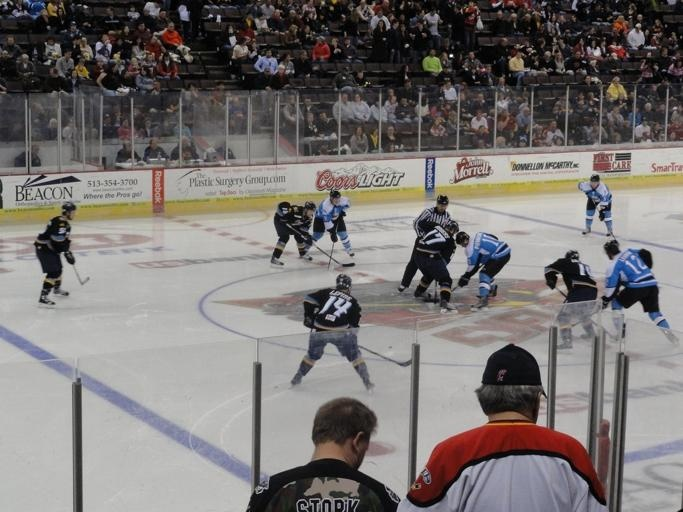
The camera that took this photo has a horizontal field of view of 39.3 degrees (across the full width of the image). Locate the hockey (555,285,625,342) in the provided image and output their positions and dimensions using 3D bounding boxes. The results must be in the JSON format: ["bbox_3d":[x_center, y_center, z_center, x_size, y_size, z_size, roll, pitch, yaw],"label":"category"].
[{"bbox_3d":[2.143,0.476,8.168,0.254,0.433,0.325,3,8,38],"label":"hockey"}]

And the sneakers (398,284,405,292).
[{"bbox_3d":[0.842,0.438,13.298,0.100,0.063,0.128,0,10,3],"label":"sneakers"}]

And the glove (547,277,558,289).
[{"bbox_3d":[2.564,0.335,11.600,0.079,0.152,0.154,-3,34,17],"label":"glove"}]

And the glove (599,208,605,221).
[{"bbox_3d":[4.788,-0.758,17.559,0.125,0.177,0.062,-8,-4,-16],"label":"glove"}]

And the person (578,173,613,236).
[{"bbox_3d":[4.837,-1.026,18.001,0.675,1.168,1.469,4,14,15],"label":"person"}]

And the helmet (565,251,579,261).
[{"bbox_3d":[2.840,-0.011,11.733,0.084,0.106,0.100,-26,17,-11],"label":"helmet"}]

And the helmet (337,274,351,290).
[{"bbox_3d":[-0.002,0.262,9.832,0.130,0.146,0.160,6,16,15],"label":"helmet"}]

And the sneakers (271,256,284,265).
[{"bbox_3d":[-0.978,0.060,15.163,0.245,0.145,0.083,8,24,29],"label":"sneakers"}]

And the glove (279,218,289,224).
[{"bbox_3d":[-0.907,-0.550,15.124,0.149,0.075,0.019,0,14,0],"label":"glove"}]

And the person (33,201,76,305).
[{"bbox_3d":[-3.901,-0.045,12.913,0.504,1.297,0.962,0,14,-2],"label":"person"}]

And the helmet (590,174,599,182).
[{"bbox_3d":[4.628,-1.422,17.388,0.165,0.114,0.230,-1,2,6],"label":"helmet"}]

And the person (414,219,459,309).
[{"bbox_3d":[1.310,0.152,12.666,0.510,1.044,0.981,-3,14,-15],"label":"person"}]

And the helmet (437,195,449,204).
[{"bbox_3d":[1.455,-0.822,13.664,0.124,0.134,0.147,2,-25,-4],"label":"helmet"}]

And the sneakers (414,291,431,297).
[{"bbox_3d":[1.118,0.514,13.177,0.095,0.056,0.134,3,5,42],"label":"sneakers"}]

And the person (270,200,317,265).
[{"bbox_3d":[-0.787,-0.405,15.308,0.675,1.022,0.887,0,14,-3],"label":"person"}]

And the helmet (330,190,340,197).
[{"bbox_3d":[-0.083,-0.996,15.141,0.130,0.128,0.146,-2,0,-26],"label":"helmet"}]

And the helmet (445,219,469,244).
[{"bbox_3d":[1.545,-0.300,13.117,0.160,0.365,0.271,-14,32,-27],"label":"helmet"}]

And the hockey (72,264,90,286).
[{"bbox_3d":[-3.836,0.279,14.037,0.095,0.218,0.221,-43,2,-29],"label":"hockey"}]
